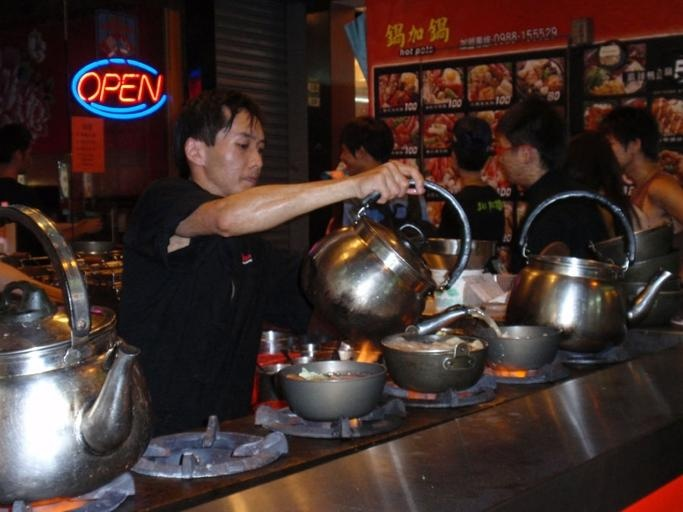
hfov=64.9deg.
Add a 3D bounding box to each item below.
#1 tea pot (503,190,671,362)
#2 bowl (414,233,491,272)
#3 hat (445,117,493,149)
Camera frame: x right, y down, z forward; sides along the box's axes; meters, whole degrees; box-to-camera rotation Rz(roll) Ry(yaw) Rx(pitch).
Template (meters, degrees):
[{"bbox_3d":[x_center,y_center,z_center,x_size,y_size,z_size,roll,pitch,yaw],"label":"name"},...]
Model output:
[{"bbox_3d":[0.756,0.041,1.713,0.496,0.493,0.302,-7,14,-27],"label":"tea pot"},{"bbox_3d":[0.492,-0.012,2.327,0.330,0.135,0.334,1,6,0],"label":"bowl"},{"bbox_3d":[0.825,-0.794,3.414,0.215,0.199,0.281,0,12,6],"label":"hat"}]
